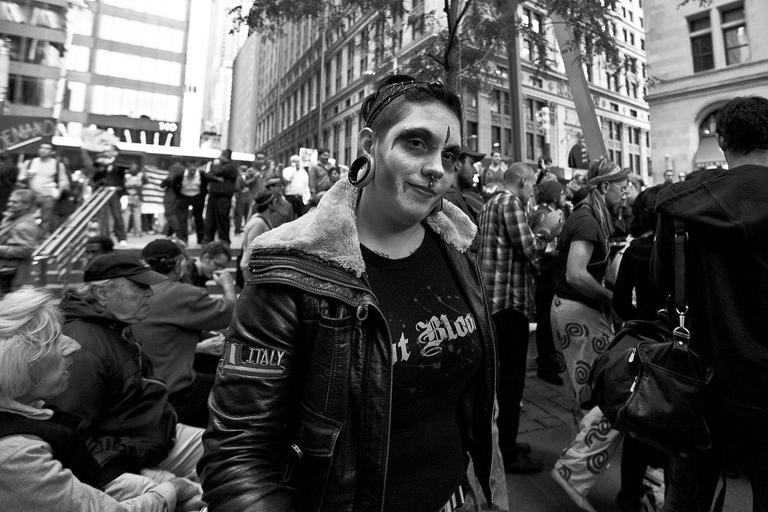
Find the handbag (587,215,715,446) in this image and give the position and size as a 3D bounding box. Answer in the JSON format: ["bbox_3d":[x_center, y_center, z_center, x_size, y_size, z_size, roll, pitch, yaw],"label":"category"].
[{"bbox_3d":[2.772,0.842,6.054,0.897,2.084,1.394,2,-6,20],"label":"handbag"}]

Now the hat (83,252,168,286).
[{"bbox_3d":[-2.776,0.135,6.515,0.618,0.297,0.413,0,1,-23],"label":"hat"}]

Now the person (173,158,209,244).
[{"bbox_3d":[-4.339,-1.216,13.724,0.739,2.080,0.743,3,-27,-24],"label":"person"}]

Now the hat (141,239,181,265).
[{"bbox_3d":[-2.825,-0.083,7.794,0.371,0.241,0.286,-20,20,-39],"label":"hat"}]

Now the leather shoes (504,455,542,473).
[{"bbox_3d":[1.595,2.379,7.165,0.505,0.223,0.183,-3,12,2],"label":"leather shoes"}]

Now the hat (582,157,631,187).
[{"bbox_3d":[2.657,-1.000,7.330,0.393,0.308,0.364,-9,22,-8],"label":"hat"}]

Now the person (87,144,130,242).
[{"bbox_3d":[-5.918,-1.358,13.139,0.740,0.768,2.473,7,43,-25],"label":"person"}]

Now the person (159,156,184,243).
[{"bbox_3d":[-4.789,-1.293,13.905,0.466,1.685,0.856,0,2,-24],"label":"person"}]

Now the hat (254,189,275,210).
[{"bbox_3d":[-2.003,-0.949,10.285,0.304,0.123,0.295,-33,25,5],"label":"hat"}]
